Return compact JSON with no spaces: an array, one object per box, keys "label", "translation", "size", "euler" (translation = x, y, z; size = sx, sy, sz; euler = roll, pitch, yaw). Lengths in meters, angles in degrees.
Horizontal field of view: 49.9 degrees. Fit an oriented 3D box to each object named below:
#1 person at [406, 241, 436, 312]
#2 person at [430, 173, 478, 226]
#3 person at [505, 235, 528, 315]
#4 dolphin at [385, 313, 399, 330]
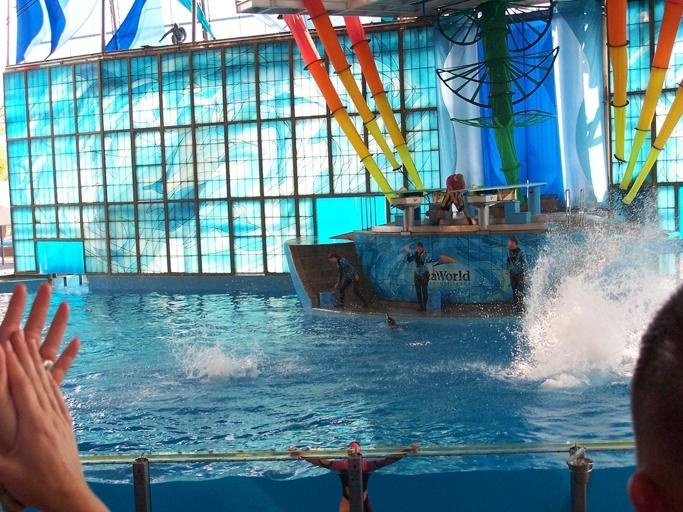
[{"label":"person","translation":[1.571,0.378,14.356],"size":[0.497,1.279,0.858],"euler":[-4,6,1]},{"label":"person","translation":[2.269,-1.165,15.215],"size":[0.920,1.017,1.216],"euler":[-3,6,6]},{"label":"person","translation":[3.266,0.309,13.577],"size":[0.357,1.349,0.923],"euler":[-3,6,14]},{"label":"dolphin","translation":[0.926,1.212,13.423],"size":[0.183,0.207,0.452],"euler":[7,-2,3]}]
